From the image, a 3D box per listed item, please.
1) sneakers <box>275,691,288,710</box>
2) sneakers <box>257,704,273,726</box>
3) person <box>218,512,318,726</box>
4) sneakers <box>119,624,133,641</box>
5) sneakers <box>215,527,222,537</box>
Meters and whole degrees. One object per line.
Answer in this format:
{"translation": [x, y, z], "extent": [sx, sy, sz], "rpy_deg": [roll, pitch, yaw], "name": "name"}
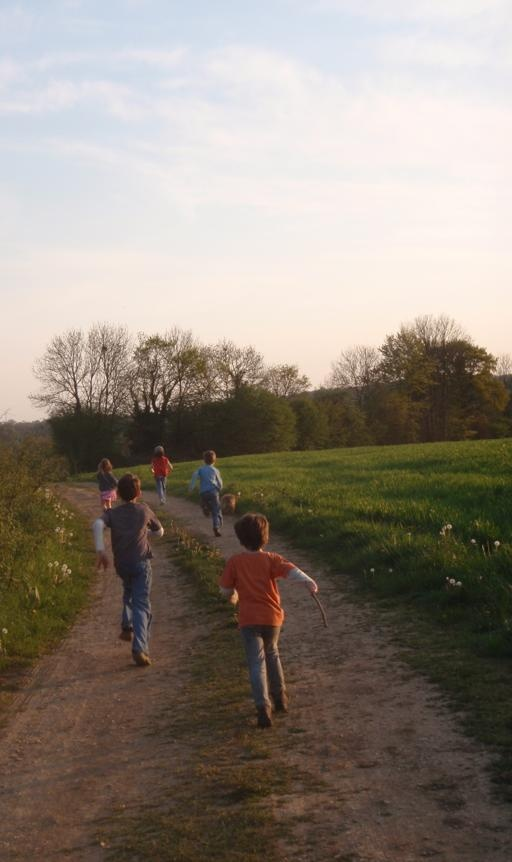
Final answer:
{"translation": [0.174, 1.877, 6.689], "extent": [0.053, 0.109, 0.156], "rpy_deg": [0, 9, 10], "name": "sneakers"}
{"translation": [0.052, 1.886, 6.355], "extent": [0.109, 0.198, 0.125], "rpy_deg": [-3, -27, -1], "name": "sneakers"}
{"translation": [0.042, 1.263, 6.626], "extent": [0.492, 0.930, 0.527], "rpy_deg": [-9, 4, -31], "name": "person"}
{"translation": [-1.180, 1.833, 8.702], "extent": [0.126, 0.141, 0.143], "rpy_deg": [-4, -4, 4], "name": "sneakers"}
{"translation": [-0.609, 1.626, 15.233], "extent": [0.063, 0.066, 0.155], "rpy_deg": [-4, -37, 5], "name": "sneakers"}
